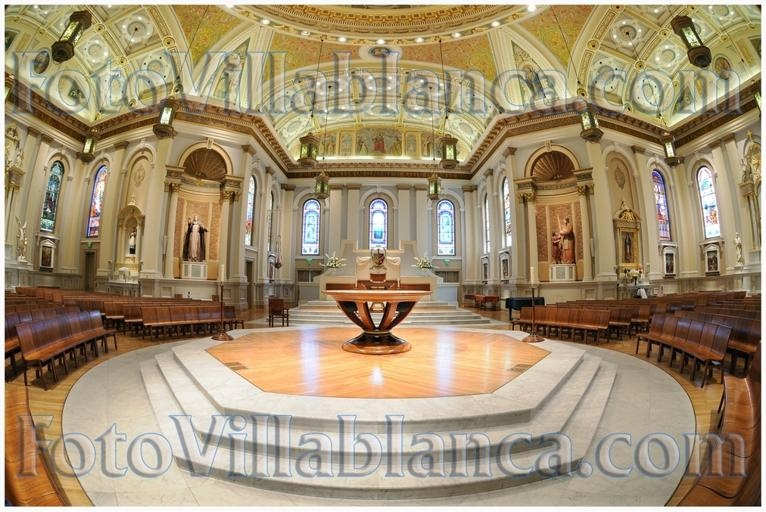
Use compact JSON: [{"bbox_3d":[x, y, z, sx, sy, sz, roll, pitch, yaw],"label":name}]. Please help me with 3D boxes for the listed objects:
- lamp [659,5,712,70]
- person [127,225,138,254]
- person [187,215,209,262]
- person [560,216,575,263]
[{"bbox_3d":[7.543,-5.347,10.666,0.821,1.510,1.330,5,10,31],"label":"lamp"},{"bbox_3d":[-9.869,-0.623,17.084,0.820,1.107,0.323,8,12,42],"label":"person"},{"bbox_3d":[-7.491,-0.704,17.464,0.992,1.763,0.627,-8,11,-41],"label":"person"},{"bbox_3d":[7.420,-0.648,17.401,0.512,1.801,0.765,0,9,2],"label":"person"}]
